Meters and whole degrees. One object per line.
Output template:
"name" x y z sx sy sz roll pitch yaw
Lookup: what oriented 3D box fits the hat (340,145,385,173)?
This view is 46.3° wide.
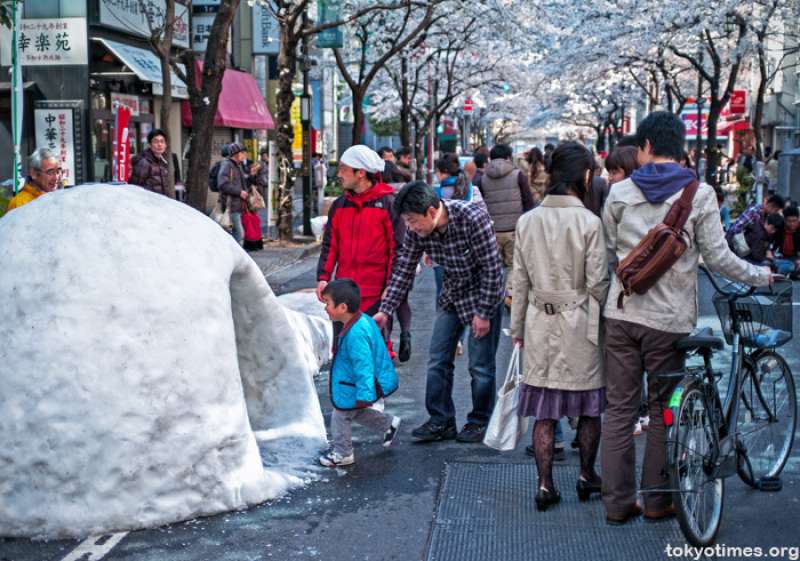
"hat" -0.315 -1.012 8.135 0.316 0.183 0.218 8 -2 -24

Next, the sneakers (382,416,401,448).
"sneakers" -0.072 1.164 7.182 0.112 0.282 0.096 13 37 -4

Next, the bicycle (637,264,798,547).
"bicycle" 2.184 0.840 6.129 0.774 1.396 2.086 -11 13 35

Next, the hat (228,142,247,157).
"hat" -2.859 -2.236 16.331 0.231 0.201 0.219 5 4 -10

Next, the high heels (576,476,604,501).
"high heels" 1.291 1.407 6.352 0.087 0.138 0.251 1 6 28

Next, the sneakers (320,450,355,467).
"sneakers" -0.465 1.330 6.974 0.244 0.125 0.110 5 10 0

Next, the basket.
"basket" 2.441 0.160 6.300 0.504 0.480 0.405 -17 8 -30

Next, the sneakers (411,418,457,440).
"sneakers" 0.277 1.205 7.530 0.360 0.202 0.150 2 3 -13

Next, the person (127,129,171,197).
"person" -3.724 -1.694 13.848 0.557 0.974 0.642 -4 10 -18

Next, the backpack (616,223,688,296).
"backpack" 1.570 -0.143 5.904 0.389 0.488 0.262 0 40 -44
